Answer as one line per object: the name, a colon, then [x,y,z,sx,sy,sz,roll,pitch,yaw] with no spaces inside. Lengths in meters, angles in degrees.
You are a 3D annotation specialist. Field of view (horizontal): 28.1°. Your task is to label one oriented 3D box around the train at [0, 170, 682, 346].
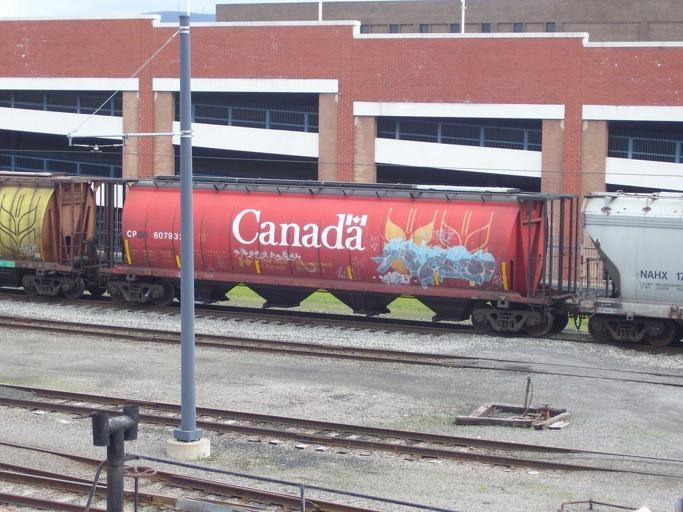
train: [-1.142,-0.233,48.560,23.618,6.804,2.151,8,14,15]
